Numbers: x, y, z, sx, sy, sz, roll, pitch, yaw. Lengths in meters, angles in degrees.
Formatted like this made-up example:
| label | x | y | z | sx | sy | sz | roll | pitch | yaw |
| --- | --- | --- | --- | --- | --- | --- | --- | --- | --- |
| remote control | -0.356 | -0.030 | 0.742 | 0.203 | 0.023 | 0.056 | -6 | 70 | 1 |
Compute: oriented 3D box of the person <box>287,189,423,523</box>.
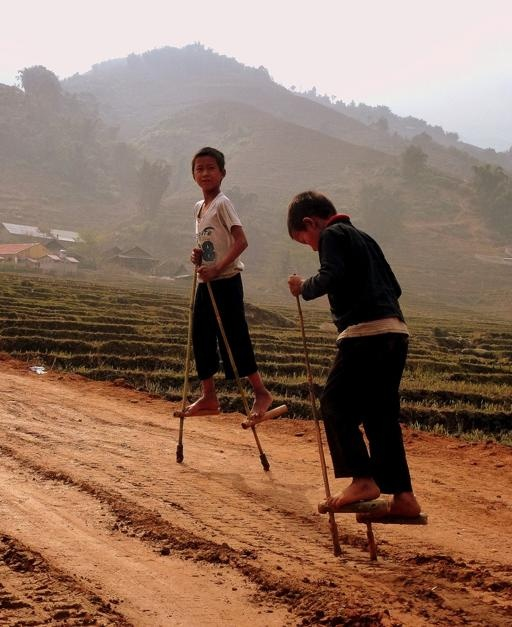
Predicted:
| label | x | y | z | sx | sy | sz | roll | pitch | yaw |
| --- | --- | --- | --- | --- | --- | --- | --- | --- | --- |
| person | 0.624 | 0.196 | 3.713 | 0.939 | 2.028 | 0.685 | 8 | 1 | -2 |

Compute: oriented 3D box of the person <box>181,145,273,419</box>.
| label | x | y | z | sx | sy | sz | roll | pitch | yaw |
| --- | --- | --- | --- | --- | --- | --- | --- | --- | --- |
| person | -0.248 | -0.283 | 5.397 | 0.957 | 2.512 | 1.074 | 8 | 1 | -8 |
